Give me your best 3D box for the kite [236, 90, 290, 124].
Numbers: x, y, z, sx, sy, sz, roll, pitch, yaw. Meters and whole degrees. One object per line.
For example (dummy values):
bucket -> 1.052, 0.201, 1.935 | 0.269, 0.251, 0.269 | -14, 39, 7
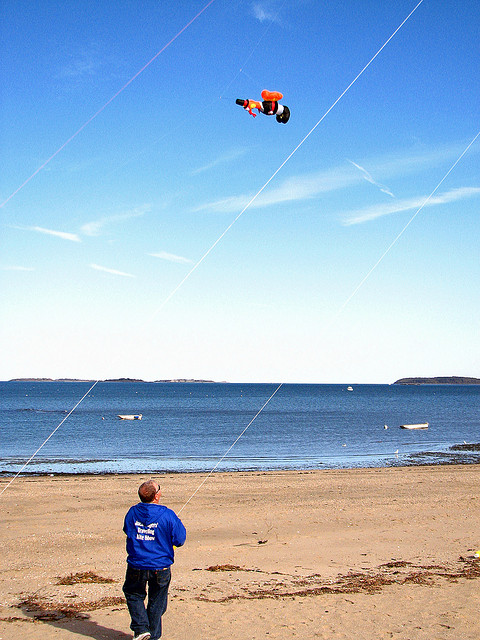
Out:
kite -> 0.402, -3.206, 11.145 | 0.818, 0.401, 0.456 | 10, -12, -27

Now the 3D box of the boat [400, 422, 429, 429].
boat -> 14.485, 8.828, 63.217 | 2.053, 0.389, 0.577 | -8, 9, 0

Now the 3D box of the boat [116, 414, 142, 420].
boat -> -10.738, 9.523, 73.863 | 2.030, 0.580, 2.671 | 7, -11, -12
